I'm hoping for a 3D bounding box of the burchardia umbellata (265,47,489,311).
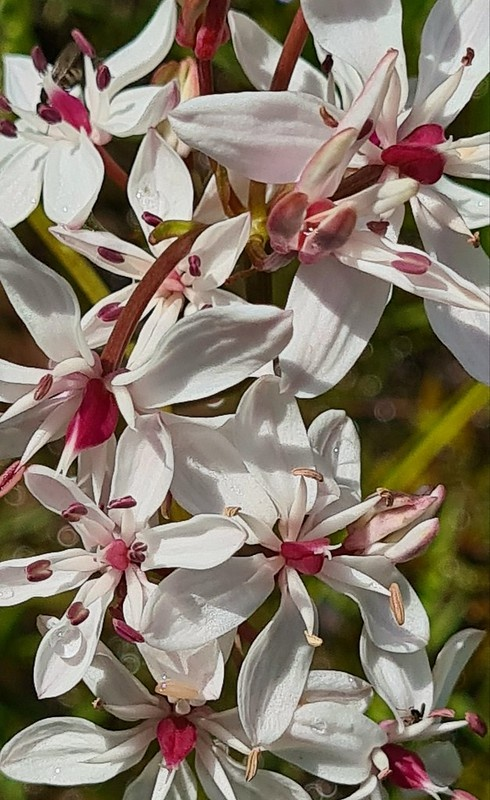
[{"bbox_3d":[0.078,-0.100,0.477,0.110,0.100,0.152,-31,81,-3],"label":"burchardia umbellata"}]

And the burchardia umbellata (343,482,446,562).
[{"bbox_3d":[0.103,0.091,0.586,0.029,0.073,0.042,-16,69,-46],"label":"burchardia umbellata"}]
